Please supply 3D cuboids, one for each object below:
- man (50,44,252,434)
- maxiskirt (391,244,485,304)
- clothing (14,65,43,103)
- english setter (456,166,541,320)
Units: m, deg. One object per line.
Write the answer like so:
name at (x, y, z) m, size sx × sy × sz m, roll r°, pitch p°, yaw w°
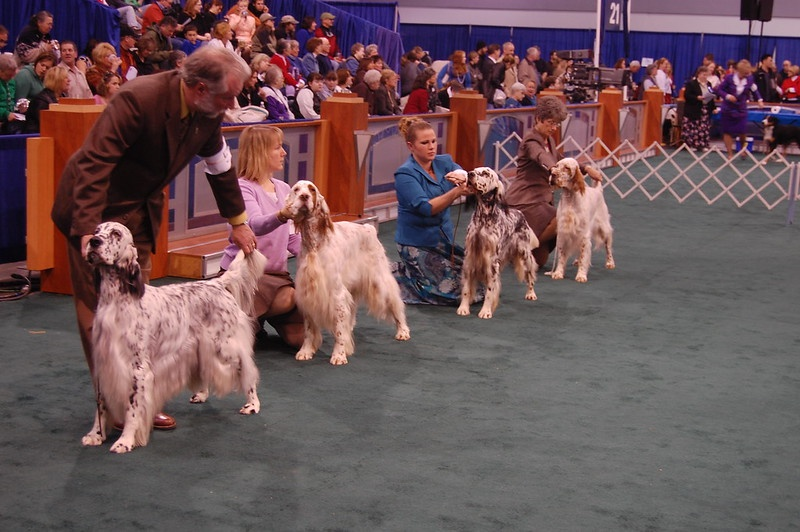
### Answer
man at (-1.701, -0.174, 4.816) m, size 1.321 × 2.550 × 1.120 m, roll 6°, pitch 9°, yaw -3°
maxiskirt at (0.413, 0.232, 8.195) m, size 0.999 × 0.394 × 0.793 m, roll 1°, pitch 5°, yaw 21°
clothing at (-4.843, -2.375, 9.352) m, size 0.274 × 0.441 × 0.513 m, roll 6°, pitch 17°, yaw 13°
english setter at (1.064, -0.296, 7.753) m, size 0.585 × 1.547 × 0.996 m, roll 8°, pitch 14°, yaw 31°
